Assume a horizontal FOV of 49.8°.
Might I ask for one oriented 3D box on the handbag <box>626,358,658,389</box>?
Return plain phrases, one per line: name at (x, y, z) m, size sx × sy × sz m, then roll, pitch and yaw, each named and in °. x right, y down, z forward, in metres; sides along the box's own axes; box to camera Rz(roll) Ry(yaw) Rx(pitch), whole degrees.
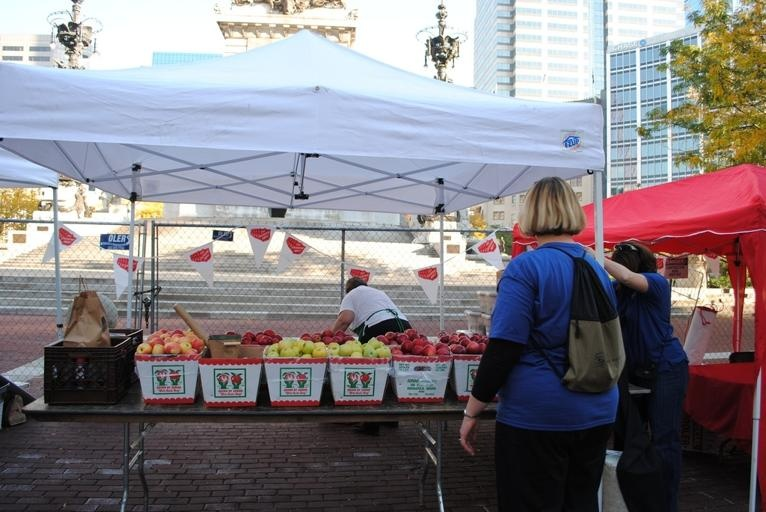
handbag at (3.275, 1.497, 10.439) m, size 0.338 × 0.417 × 0.171 m, roll 1°, pitch -2°, yaw 15°
